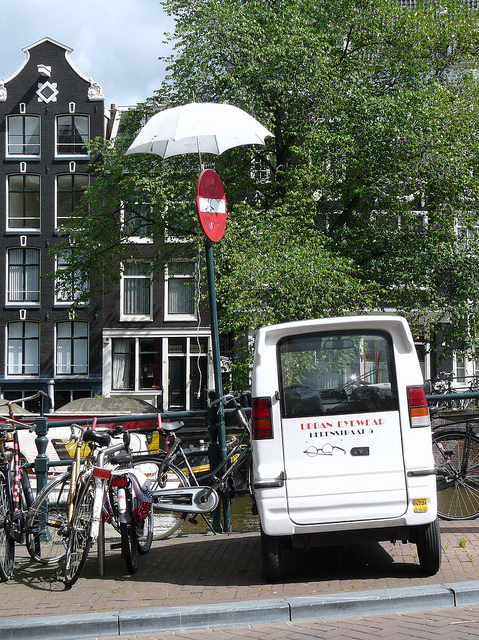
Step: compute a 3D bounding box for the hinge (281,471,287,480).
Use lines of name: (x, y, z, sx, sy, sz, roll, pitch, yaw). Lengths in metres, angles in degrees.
hinge: (0.304, 1.045, 6.217, 0.044, 0.054, 0.013, -2, 0, 7)

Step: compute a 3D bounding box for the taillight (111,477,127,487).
taillight: (-0.897, 1.188, 6.797, 0.081, 0.056, 0.080, -5, -11, 34)

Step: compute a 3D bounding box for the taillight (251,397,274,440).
taillight: (0.162, 0.667, 6.304, 0.162, 0.277, 0.101, -2, 6, 18)

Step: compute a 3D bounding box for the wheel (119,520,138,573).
wheel: (-0.829, 1.660, 6.872, 0.097, 0.451, 0.411, -5, 6, -3)

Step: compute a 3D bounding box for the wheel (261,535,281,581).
wheel: (0.228, 1.636, 6.370, 0.132, 0.370, 0.384, -4, 3, 2)

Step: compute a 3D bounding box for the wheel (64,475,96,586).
wheel: (-1.136, 1.492, 6.506, 0.260, 0.703, 0.396, -5, 6, -10)

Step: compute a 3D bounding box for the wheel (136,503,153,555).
wheel: (-0.747, 1.706, 7.323, 0.135, 0.416, 0.540, -5, 6, -4)

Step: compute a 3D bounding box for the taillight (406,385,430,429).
taillight: (1.253, 0.579, 6.301, 0.117, 0.289, 0.209, 0, 7, 40)

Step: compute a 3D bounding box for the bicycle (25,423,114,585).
bicycle: (-1.245, 1.378, 6.778, 0.544, 0.786, 1.328, 14, 3, -17)

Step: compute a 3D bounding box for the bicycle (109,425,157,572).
bicycle: (-0.870, 1.383, 7.308, 0.372, 1.131, 1.335, -5, 6, -8)

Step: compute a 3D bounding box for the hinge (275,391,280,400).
hinge: (0.265, 0.511, 6.304, 0.031, 0.055, 0.016, -4, 5, 2)
